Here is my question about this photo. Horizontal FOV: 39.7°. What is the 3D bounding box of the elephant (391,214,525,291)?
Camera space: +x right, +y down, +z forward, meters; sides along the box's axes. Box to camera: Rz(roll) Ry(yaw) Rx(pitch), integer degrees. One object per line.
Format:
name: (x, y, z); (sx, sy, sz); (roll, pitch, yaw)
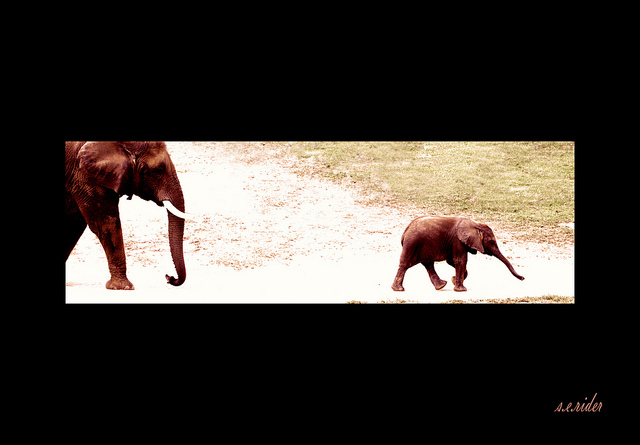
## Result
elephant: (1.150, 0.259, 7.578); (1.003, 0.649, 0.532); (1, 5, 4)
